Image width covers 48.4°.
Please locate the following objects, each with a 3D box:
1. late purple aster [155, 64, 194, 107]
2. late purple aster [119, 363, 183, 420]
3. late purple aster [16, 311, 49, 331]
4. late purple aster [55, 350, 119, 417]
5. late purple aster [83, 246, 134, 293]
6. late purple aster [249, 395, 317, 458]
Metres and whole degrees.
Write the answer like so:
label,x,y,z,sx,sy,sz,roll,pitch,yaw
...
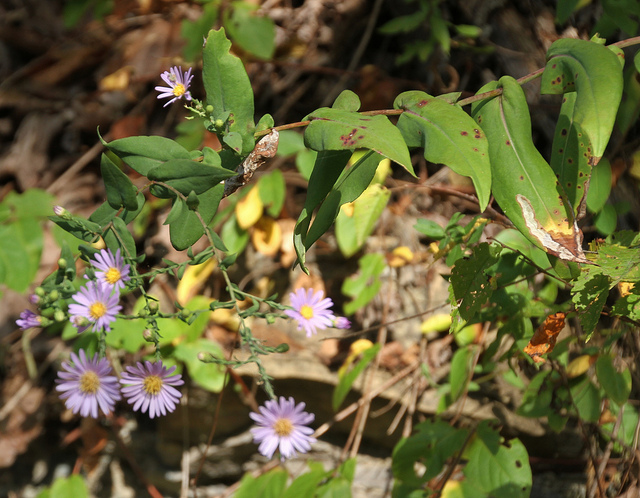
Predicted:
label,x,y,z,sx,sy,sz,roll,pitch,yaw
late purple aster,-0.369,-0.433,1.870,0.081,0.084,0.037,-20,79,16
late purple aster,-0.425,0.335,1.768,0.146,0.063,0.157,15,27,33
late purple aster,-0.729,0.184,1.809,0.073,0.035,0.046,7,76,-13
late purple aster,-0.585,0.335,1.803,0.152,0.069,0.165,11,51,-31
late purple aster,-0.529,0.051,1.814,0.118,0.048,0.125,24,24,-17
late purple aster,-0.094,0.411,1.715,0.148,0.066,0.147,-7,4,-27
